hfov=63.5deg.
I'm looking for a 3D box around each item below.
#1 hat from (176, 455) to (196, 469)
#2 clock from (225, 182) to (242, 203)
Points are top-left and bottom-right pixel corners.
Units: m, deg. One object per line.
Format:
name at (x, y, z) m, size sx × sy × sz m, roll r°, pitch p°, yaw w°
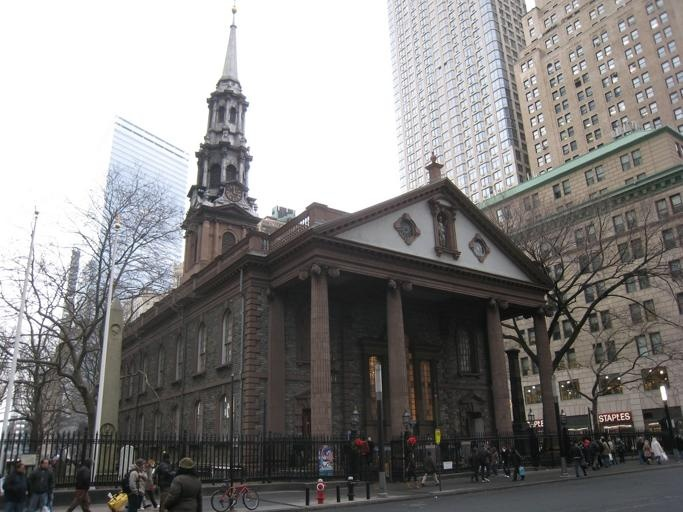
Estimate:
hat at (-4.147, 5.584, 14.864) m, size 0.332 × 0.371 × 1.284 m, roll 1°, pitch -23°, yaw -11°
clock at (-10.348, -6.059, 52.882) m, size 1.647 × 1.701 × 0.494 m, roll 3°, pitch -9°, yaw -41°
